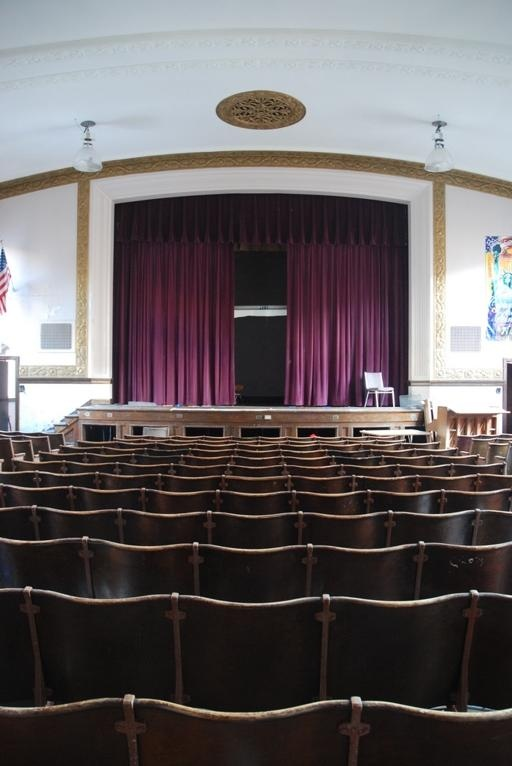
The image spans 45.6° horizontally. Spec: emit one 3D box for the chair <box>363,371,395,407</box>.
[{"bbox_3d":[2.356,0.124,11.878,0.535,0.677,1.436,-1,2,9],"label":"chair"}]
